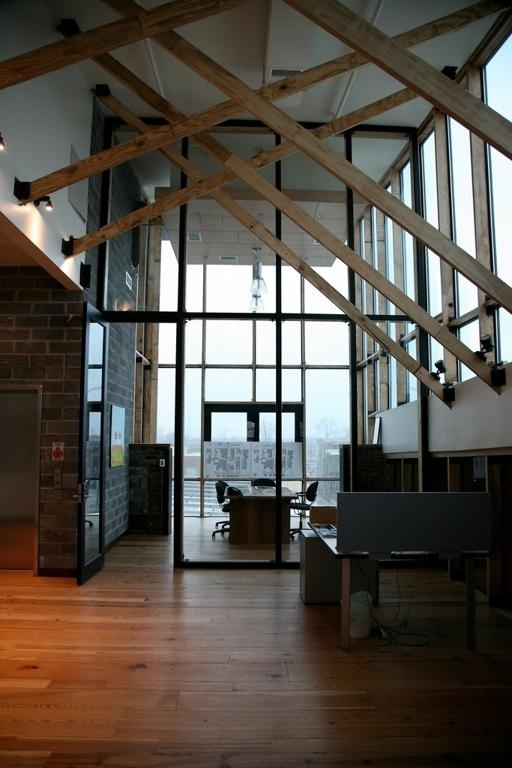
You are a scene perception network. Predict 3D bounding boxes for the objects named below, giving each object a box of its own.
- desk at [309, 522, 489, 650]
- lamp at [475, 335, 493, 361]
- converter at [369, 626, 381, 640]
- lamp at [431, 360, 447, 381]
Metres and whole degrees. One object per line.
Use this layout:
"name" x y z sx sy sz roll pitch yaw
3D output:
"desk" 1.033 1.483 4.853 1.081 0.673 1.226 0 -3 -2
"lamp" 1.846 -0.294 5.207 0.122 0.212 0.256 -2 -4 28
"converter" 0.854 1.773 4.583 0.055 0.110 0.057 0 -2 19
"lamp" 1.814 -0.135 6.374 0.092 0.110 0.164 47 -4 38
